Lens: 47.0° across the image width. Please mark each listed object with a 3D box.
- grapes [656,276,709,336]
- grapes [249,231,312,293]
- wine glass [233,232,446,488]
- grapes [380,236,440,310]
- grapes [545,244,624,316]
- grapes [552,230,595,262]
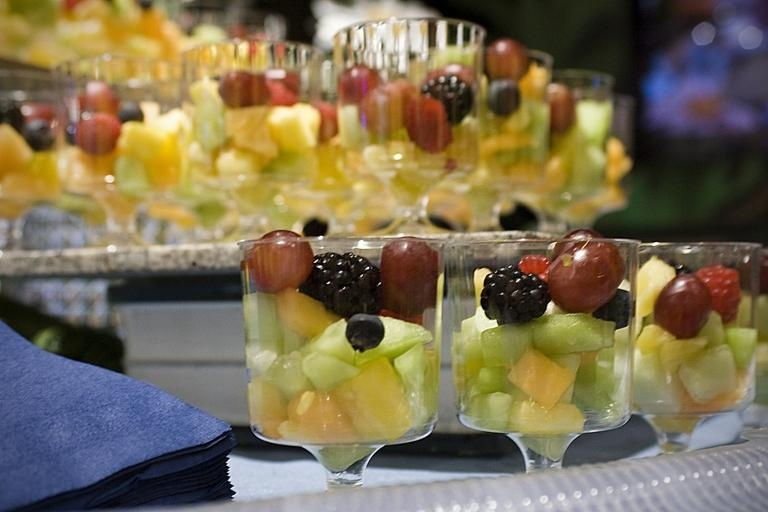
[{"bbox_3d":[0.475,0.084,1.414,0.077,0.096,0.076,8,-15,16],"label":"grapes"},{"bbox_3d":[-0.161,0.009,1.369,0.097,0.113,0.099,7,9,41],"label":"grapes"},{"bbox_3d":[-0.134,0.158,1.583,0.371,0.537,0.383,0,-1,-12],"label":"wine glass"},{"bbox_3d":[0.036,0.026,1.381,0.104,0.110,0.100,0,7,-18],"label":"grapes"},{"bbox_3d":[0.321,0.035,1.375,0.127,0.114,0.132,5,3,-28],"label":"grapes"},{"bbox_3d":[0.301,-0.009,1.382,0.065,0.034,0.049,-18,7,-37],"label":"grapes"}]
